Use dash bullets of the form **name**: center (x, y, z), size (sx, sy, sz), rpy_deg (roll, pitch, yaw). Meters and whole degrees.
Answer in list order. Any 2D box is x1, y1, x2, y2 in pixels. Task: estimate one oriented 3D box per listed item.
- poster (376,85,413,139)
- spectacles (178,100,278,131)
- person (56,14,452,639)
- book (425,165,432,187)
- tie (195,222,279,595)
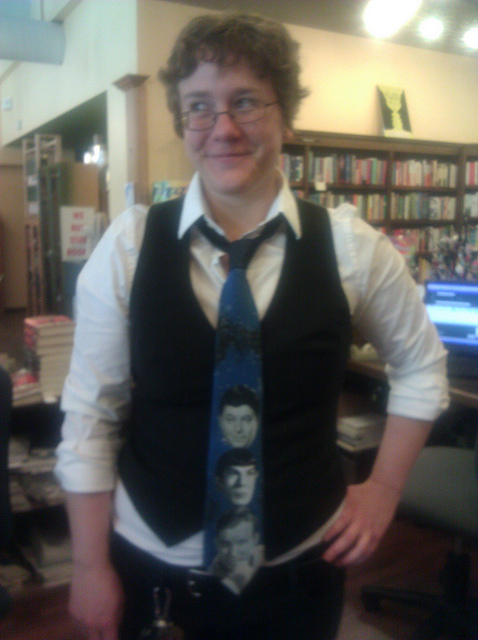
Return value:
- **poster**: center (1.309, -1.733, 4.895), size (0.313, 0.467, 0.013), rpy_deg (-3, -10, -27)
- **spectacles**: center (-0.015, -0.307, 0.884), size (0.145, 0.046, 0.046), rpy_deg (-1, 7, 3)
- **person**: center (0.032, 0.039, 0.946), size (0.634, 1.008, 0.233), rpy_deg (-3, 7, -13)
- **book**: center (1.638, -1.245, 5.044), size (0.079, 0.152, 0.154), rpy_deg (1, 13, 11)
- **tie**: center (0.002, 0.131, 0.884), size (0.123, 0.554, 0.113), rpy_deg (-1, 6, 3)
